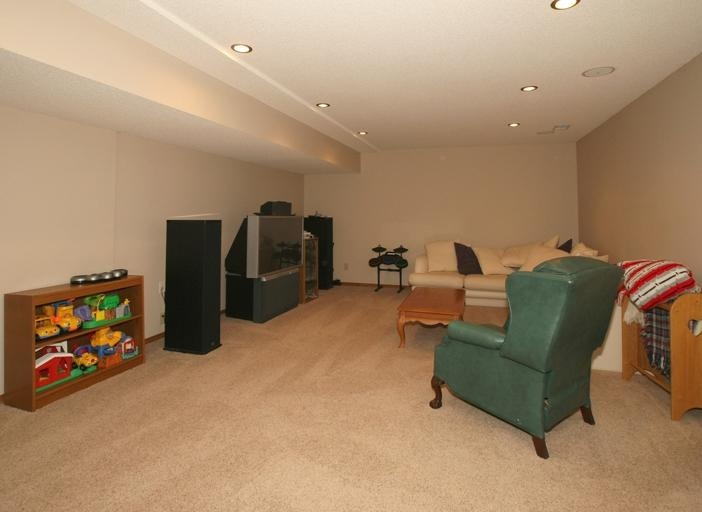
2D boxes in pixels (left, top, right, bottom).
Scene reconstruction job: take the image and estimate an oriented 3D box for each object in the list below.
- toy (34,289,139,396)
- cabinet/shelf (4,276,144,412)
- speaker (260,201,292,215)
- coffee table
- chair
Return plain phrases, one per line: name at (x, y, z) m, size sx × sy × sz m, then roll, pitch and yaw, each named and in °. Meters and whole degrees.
toy at (-2.496, 0.819, 4.621) m, size 0.293 × 0.816 × 0.920 m, roll -2°, pitch -1°, yaw 3°
cabinet/shelf at (-2.589, 0.751, 4.691) m, size 0.385 × 0.985 × 1.175 m, roll 3°, pitch 9°, yaw 32°
speaker at (-1.092, -0.658, 6.871) m, size 0.312 × 0.203 × 0.654 m, roll 0°, pitch 7°, yaw 14°
coffee table at (0.865, 0.803, 5.593) m, size 0.552 × 0.343 × 0.937 m, roll -1°, pitch 2°, yaw 15°
chair at (1.418, 0.682, 4.252) m, size 1.303 × 1.474 × 1.185 m, roll 10°, pitch 12°, yaw 37°
